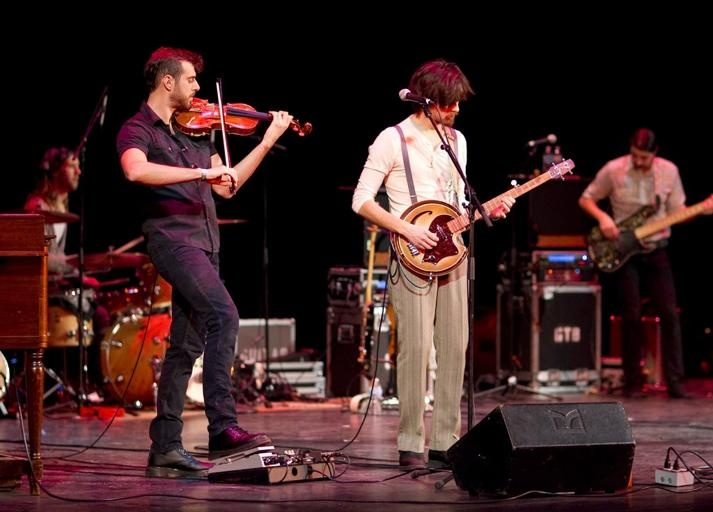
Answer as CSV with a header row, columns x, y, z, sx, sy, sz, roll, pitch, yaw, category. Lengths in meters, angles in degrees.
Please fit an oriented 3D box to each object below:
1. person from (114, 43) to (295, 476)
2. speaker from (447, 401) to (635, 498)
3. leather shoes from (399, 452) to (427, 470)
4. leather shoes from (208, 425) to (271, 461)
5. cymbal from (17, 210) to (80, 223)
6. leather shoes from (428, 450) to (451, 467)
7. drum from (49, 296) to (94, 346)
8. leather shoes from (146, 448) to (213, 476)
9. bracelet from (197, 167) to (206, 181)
x,y,z,sx,sy,sz,roll,pitch,yaw,category
-0.972,-0.043,4.695,0.909,2.619,0.577,3,-9,-20,person
0.994,1.028,4.116,0.746,0.525,0.542,2,10,-18,speaker
0.336,1.244,4.708,0.167,0.078,0.076,-3,-4,12,leather shoes
-0.704,1.098,4.679,0.404,0.179,0.158,-17,-20,16,leather shoes
-1.753,-0.228,4.533,0.191,0.049,0.192,4,3,33,cymbal
0.493,1.226,4.722,0.160,0.118,0.077,-2,-5,1,leather shoes
-2.588,0.605,7.279,0.442,0.450,0.449,2,-5,-18,drum
-1.038,1.207,4.656,0.411,0.201,0.157,1,-3,-7,leather shoes
-0.875,-0.471,4.506,0.054,0.054,0.057,-4,-5,-1,bracelet
